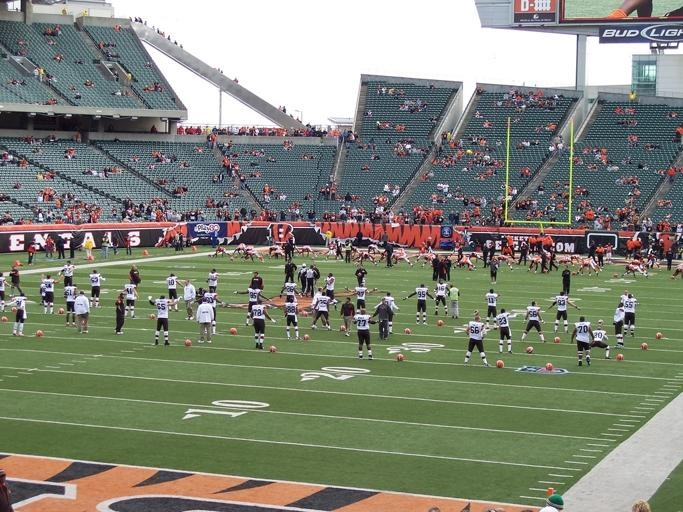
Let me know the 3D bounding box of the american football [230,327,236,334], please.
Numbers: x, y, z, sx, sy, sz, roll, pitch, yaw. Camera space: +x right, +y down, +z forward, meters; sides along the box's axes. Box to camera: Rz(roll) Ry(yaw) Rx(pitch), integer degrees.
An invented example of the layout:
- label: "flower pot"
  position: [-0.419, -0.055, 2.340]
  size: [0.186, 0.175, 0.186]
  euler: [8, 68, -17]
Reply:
- label: "american football"
  position: [-3.759, 2.617, 39.665]
  size: [0.172, 0.186, 0.146]
  euler: [8, -17, -11]

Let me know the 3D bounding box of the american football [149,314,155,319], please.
- label: "american football"
  position: [-7.132, 2.299, 42.875]
  size: [0.173, 0.166, 0.203]
  euler: [-28, -18, 9]

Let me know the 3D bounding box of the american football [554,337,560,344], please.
- label: "american football"
  position: [7.304, 2.862, 38.563]
  size: [0.185, 0.209, 0.185]
  euler: [2, 0, 35]

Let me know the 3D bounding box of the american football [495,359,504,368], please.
- label: "american football"
  position: [4.885, 3.358, 35.053]
  size: [0.218, 0.207, 0.198]
  euler: [7, 48, 9]

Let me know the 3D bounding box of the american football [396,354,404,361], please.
- label: "american football"
  position: [1.869, 3.220, 35.853]
  size: [0.220, 0.168, 0.169]
  euler: [-1, 2, -2]

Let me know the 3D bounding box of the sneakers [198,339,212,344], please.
- label: "sneakers"
  position: [-4.582, 2.864, 38.098]
  size: [0.453, 0.191, 0.160]
  euler: [1, 3, -3]

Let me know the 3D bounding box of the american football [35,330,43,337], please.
- label: "american football"
  position: [-10.335, 2.704, 38.901]
  size: [0.195, 0.207, 0.249]
  euler: [-33, 26, 11]

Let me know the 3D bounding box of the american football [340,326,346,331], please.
- label: "american football"
  position: [0.063, 2.568, 40.350]
  size: [0.172, 0.162, 0.167]
  euler: [-2, 19, 14]

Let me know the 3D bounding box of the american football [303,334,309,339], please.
- label: "american football"
  position: [-1.196, 2.770, 38.614]
  size: [0.144, 0.136, 0.138]
  euler: [3, 46, 12]

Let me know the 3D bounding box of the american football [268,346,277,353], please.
- label: "american football"
  position: [-2.245, 3.048, 36.906]
  size: [0.167, 0.202, 0.205]
  euler: [4, 27, 1]

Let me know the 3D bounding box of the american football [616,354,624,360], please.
- label: "american football"
  position: [8.841, 3.212, 36.026]
  size: [0.191, 0.179, 0.186]
  euler: [2, -1, 12]

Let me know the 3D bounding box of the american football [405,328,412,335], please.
- label: "american football"
  position: [2.347, 2.646, 39.873]
  size: [0.185, 0.206, 0.179]
  euler: [-6, 7, -37]

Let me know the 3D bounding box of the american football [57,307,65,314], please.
- label: "american football"
  position: [-10.792, 2.111, 43.744]
  size: [0.227, 0.251, 0.218]
  euler: [5, -6, -15]

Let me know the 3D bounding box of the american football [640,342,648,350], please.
- label: "american football"
  position: [9.984, 2.979, 37.432]
  size: [0.199, 0.186, 0.225]
  euler: [-3, -2, 18]
